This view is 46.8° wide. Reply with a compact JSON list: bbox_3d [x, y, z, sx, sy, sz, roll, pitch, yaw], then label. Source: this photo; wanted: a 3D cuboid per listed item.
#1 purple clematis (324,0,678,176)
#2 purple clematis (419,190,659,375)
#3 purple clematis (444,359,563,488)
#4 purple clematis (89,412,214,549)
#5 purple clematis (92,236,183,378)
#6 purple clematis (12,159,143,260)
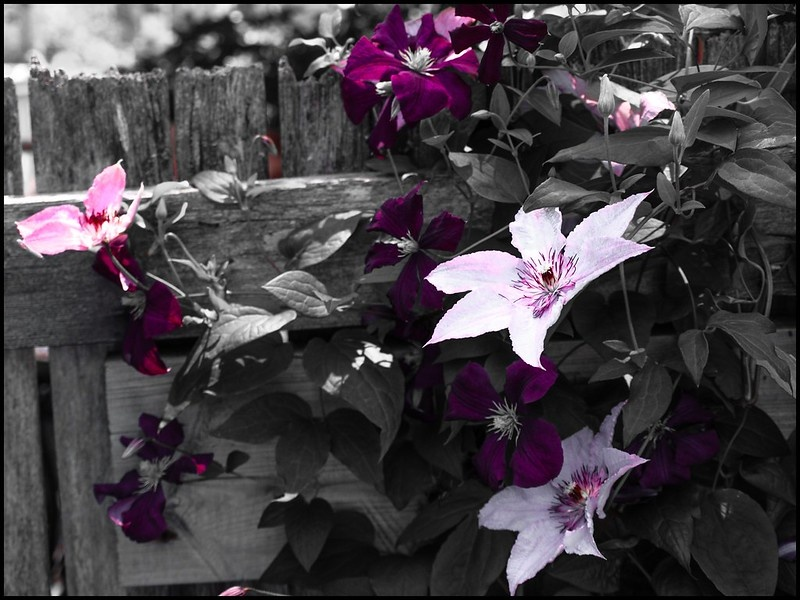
[{"bbox_3d":[0.143,-0.453,1.900,0.452,0.181,0.432,-25,46,-3],"label":"purple clematis"},{"bbox_3d":[0.230,-0.042,1.578,0.367,0.272,0.186,-3,10,0],"label":"purple clematis"},{"bbox_3d":[0.188,0.214,1.724,0.235,0.243,0.063,-20,-7,24],"label":"purple clematis"},{"bbox_3d":[-0.517,0.382,1.950,0.197,0.094,0.262,14,50,10],"label":"purple clematis"},{"bbox_3d":[-0.544,0.016,1.938,0.166,0.324,0.235,-7,11,-23],"label":"purple clematis"},{"bbox_3d":[-0.655,-0.186,1.906,0.247,0.194,0.205,-6,11,-16],"label":"purple clematis"}]
